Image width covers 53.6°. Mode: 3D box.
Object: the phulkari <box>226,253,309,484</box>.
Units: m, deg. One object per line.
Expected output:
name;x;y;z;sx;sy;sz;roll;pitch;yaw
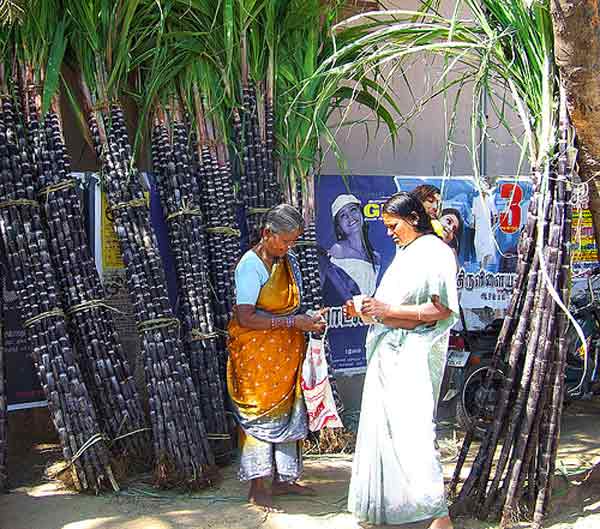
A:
phulkari;-0.168;0.570;3.646;0.402;1.450;0.586;-1;2;21

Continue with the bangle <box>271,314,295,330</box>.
bangle;-0.108;0.327;3.392;0.099;0.049;0.079;-1;0;13
